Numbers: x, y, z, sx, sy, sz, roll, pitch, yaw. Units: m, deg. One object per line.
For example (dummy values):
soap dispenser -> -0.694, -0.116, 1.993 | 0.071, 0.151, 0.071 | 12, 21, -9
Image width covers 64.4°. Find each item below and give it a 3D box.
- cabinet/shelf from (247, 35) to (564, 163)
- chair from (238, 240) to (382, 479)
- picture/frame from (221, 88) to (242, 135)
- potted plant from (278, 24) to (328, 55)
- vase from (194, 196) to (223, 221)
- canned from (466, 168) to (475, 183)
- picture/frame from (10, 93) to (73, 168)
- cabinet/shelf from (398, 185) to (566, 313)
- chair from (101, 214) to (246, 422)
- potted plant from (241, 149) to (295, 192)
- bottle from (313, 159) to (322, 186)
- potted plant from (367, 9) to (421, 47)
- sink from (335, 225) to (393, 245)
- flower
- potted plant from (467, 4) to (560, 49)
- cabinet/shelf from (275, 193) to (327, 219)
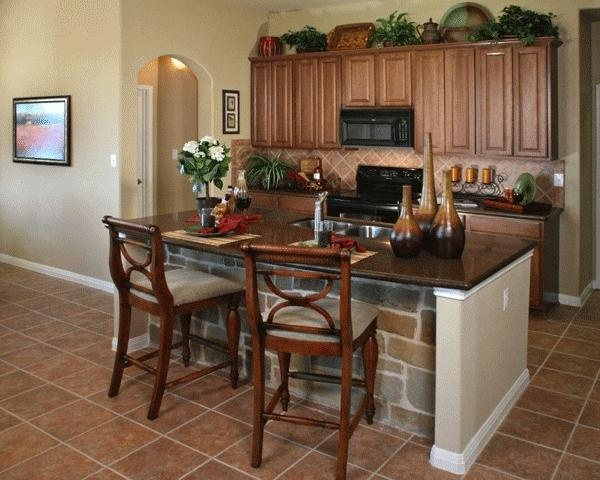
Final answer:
cabinet/shelf -> 0.970, -1.486, 5.093 | 3.114, 1.163, 0.458 | 5, 13, 24
chair -> 0.040, 0.532, 2.545 | 0.754, 1.162, 0.773 | 2, 12, 9
picture/frame -> -0.829, -1.558, 5.804 | 0.049, 0.522, 0.323 | 6, 13, 29
potted plant -> 0.040, -2.355, 5.671 | 0.409, 0.231, 0.399 | 8, 9, 44
vase -> -0.629, -0.218, 3.316 | 0.153, 0.163, 0.167 | 0, 0, -1
canned -> 1.764, -0.665, 4.933 | 0.110, 0.172, 0.191 | 4, 12, 20
picture/frame -> -2.932, -1.276, 5.486 | 0.895, 0.681, 0.033 | 8, 8, 31
cabinet/shelf -> 1.276, 0.055, 3.220 | 1.123, 0.788, 0.411 | 5, 9, 40
chair -> -0.910, 0.407, 3.175 | 0.771, 1.178, 0.919 | -9, 15, -37
potted plant -> -0.413, -0.836, 6.023 | 0.552, 0.400, 0.560 | 2, 2, 2
bottle -> 0.225, -0.828, 5.748 | 0.114, 0.295, 0.308 | 0, 12, 2
potted plant -> 1.027, -2.252, 5.177 | 0.495, 0.338, 0.496 | -4, 10, -27
sink -> 0.475, -0.057, 3.405 | 0.183, 0.087, 0.235 | -8, 12, -44
flower -> -0.651, -0.517, 3.262 | 0.334, 0.370, 0.184 | 6, 13, 25
potted plant -> 1.961, -1.973, 4.391 | 0.752, 0.369, 0.246 | 5, 13, 23
cabinet/shelf -> 0.024, -0.333, 4.572 | 0.415, 0.405, 0.228 | 2, 3, 35
